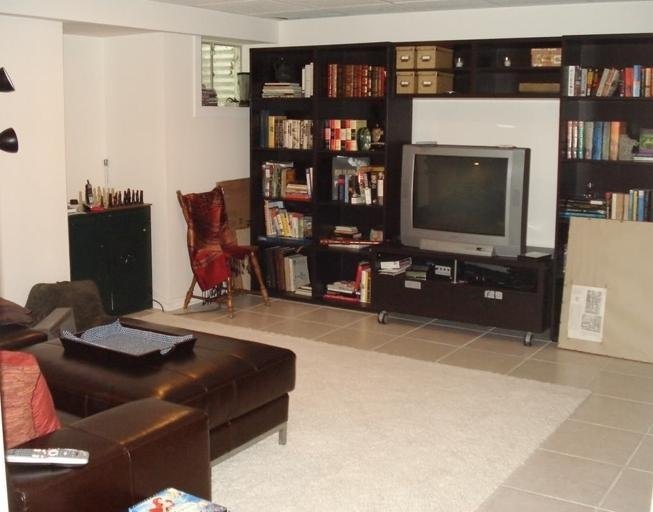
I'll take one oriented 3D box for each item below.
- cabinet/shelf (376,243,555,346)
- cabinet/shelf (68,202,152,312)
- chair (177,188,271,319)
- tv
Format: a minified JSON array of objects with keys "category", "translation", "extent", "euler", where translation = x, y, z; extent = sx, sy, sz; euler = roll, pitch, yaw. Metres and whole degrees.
[{"category":"cabinet/shelf","translation":[1.201,0.321,5.221],"extent":[1.504,0.656,0.487],"euler":[6,5,16]},{"category":"cabinet/shelf","translation":[-1.997,-0.012,5.049],"extent":[0.339,1.039,0.914],"euler":[10,14,34]},{"category":"chair","translation":[-1.089,-0.073,5.610],"extent":[0.666,1.242,0.774],"euler":[6,14,33]},{"category":"tv","translation":[1.385,-0.509,5.251],"extent":[1.228,1.011,0.613],"euler":[10,13,43]}]
